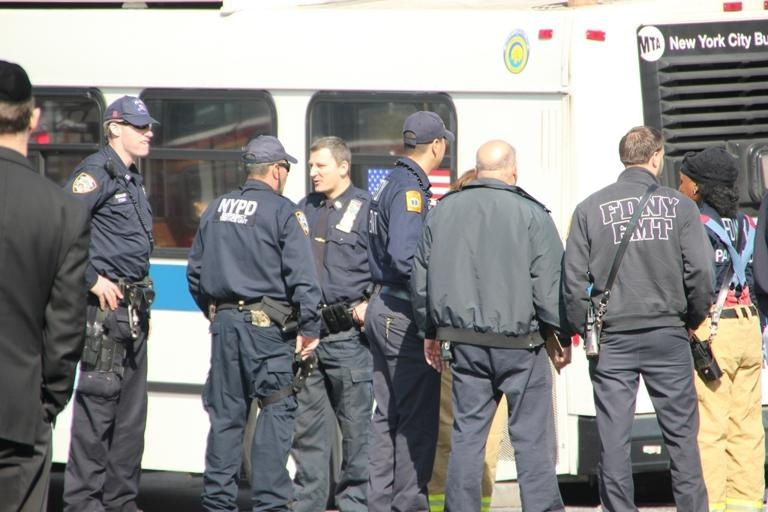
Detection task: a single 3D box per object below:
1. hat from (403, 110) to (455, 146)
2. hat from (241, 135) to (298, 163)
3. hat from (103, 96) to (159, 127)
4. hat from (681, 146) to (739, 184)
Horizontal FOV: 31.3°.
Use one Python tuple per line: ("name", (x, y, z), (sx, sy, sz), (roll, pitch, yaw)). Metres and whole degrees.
("hat", (0.332, -0.945, 10.042), (0.409, 0.214, 0.273), (-19, 21, -41))
("hat", (-0.841, -0.794, 10.138), (0.311, 0.157, 0.204), (-6, 9, -39))
("hat", (-1.869, -1.077, 10.229), (0.427, 0.244, 0.301), (2, 1, 26))
("hat", (2.388, -0.648, 10.011), (0.272, 0.185, 0.330), (0, -1, 1))
